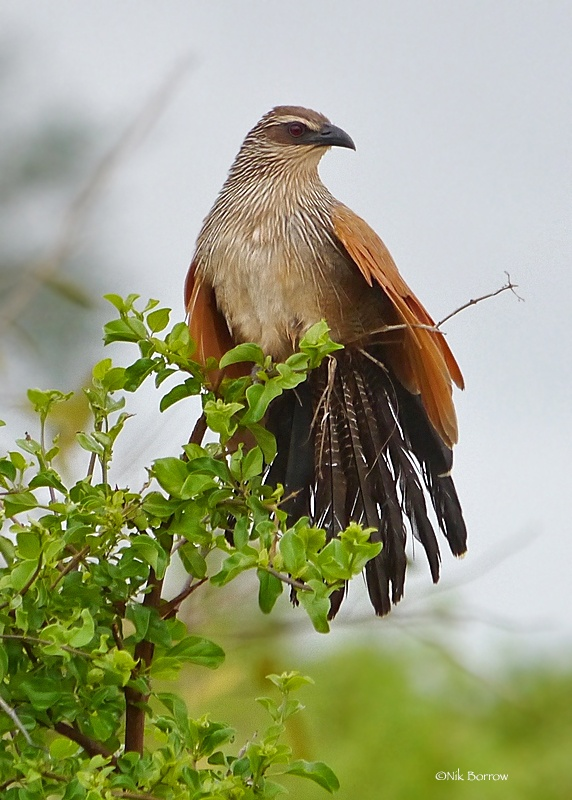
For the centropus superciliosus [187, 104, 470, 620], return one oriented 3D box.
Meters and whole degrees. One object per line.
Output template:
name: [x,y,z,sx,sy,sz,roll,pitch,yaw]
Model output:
centropus superciliosus: [0.049,-0.070,1.510,0.383,0.660,0.324,-1,-32,9]
